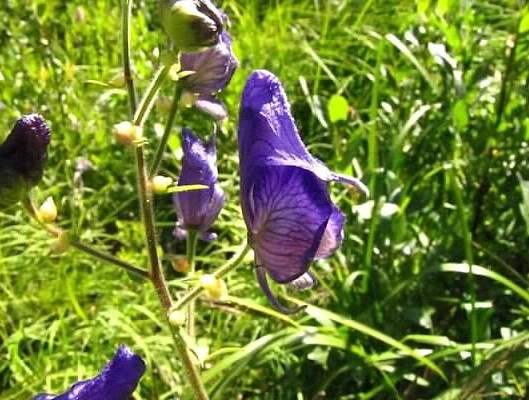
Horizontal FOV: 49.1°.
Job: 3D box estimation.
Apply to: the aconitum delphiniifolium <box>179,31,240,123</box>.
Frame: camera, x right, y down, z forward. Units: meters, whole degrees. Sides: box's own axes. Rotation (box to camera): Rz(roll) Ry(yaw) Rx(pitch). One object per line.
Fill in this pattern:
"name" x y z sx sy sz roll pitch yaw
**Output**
"aconitum delphiniifolium" -0.107 -0.272 1.260 0.130 0.182 0.086 -14 28 -35
